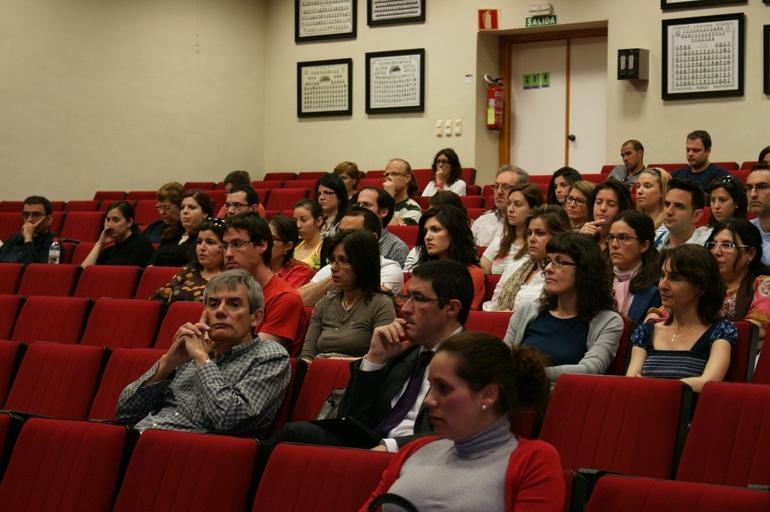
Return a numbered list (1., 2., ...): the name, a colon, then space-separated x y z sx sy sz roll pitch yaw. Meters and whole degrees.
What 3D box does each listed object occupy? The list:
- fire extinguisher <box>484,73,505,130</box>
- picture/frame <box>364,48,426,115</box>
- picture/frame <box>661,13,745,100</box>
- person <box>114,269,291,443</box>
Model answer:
1. fire extinguisher: 1.672 -2.347 9.103 0.213 0.803 0.428 3 4 35
2. picture/frame: 0.187 -2.770 9.345 0.921 1.086 0.075 1 3 14
3. picture/frame: 4.152 -2.597 7.706 1.039 1.276 0.096 1 1 20
4. person: -0.792 0.520 2.732 0.802 0.955 0.487 -17 -33 31
